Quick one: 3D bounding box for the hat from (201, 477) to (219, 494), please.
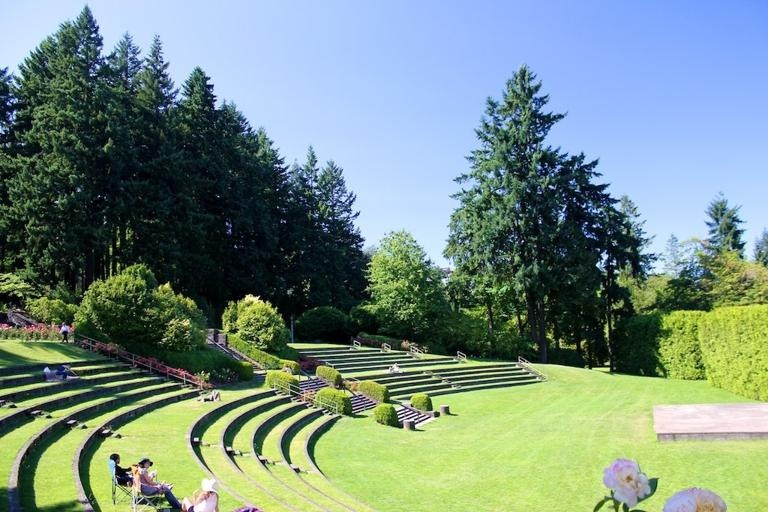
[{"bbox_3d":[-5.609,7.294,17.174,0.427,0.482,1.203,6,-12,-17],"label":"hat"}]

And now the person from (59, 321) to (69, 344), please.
[{"bbox_3d":[-23.752,5.643,39.906,0.601,1.553,2.213,9,-14,-31],"label":"person"}]

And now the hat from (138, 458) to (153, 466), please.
[{"bbox_3d":[-9.627,8.353,21.606,0.546,0.275,0.390,-1,-6,-13],"label":"hat"}]
